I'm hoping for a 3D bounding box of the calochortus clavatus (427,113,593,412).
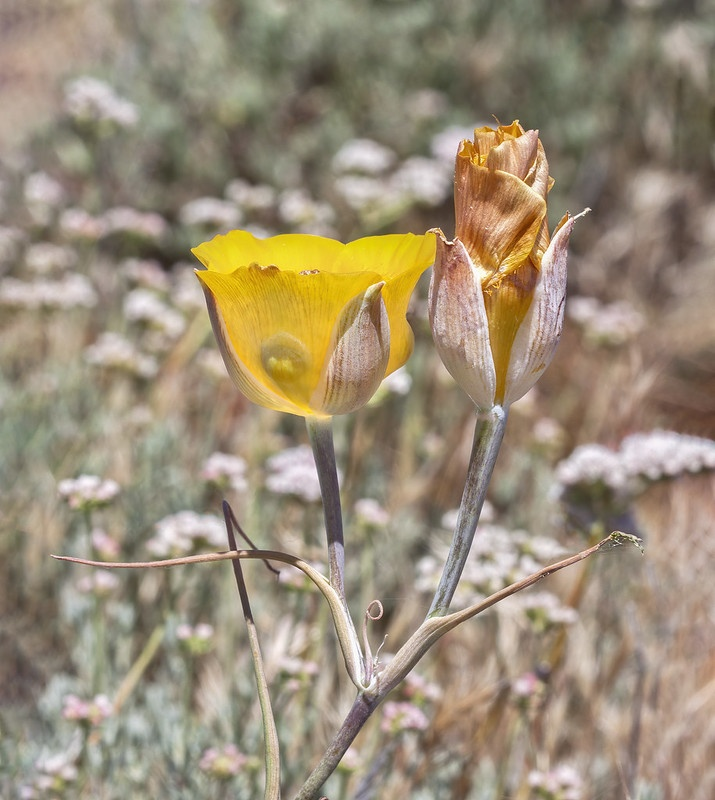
[{"bbox_3d":[0.073,-0.063,0.778,0.068,0.153,0.050,-1,23,0],"label":"calochortus clavatus"}]

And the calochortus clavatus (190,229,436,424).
[{"bbox_3d":[-0.026,-0.043,0.780,0.123,0.101,0.059,6,-13,1],"label":"calochortus clavatus"}]
